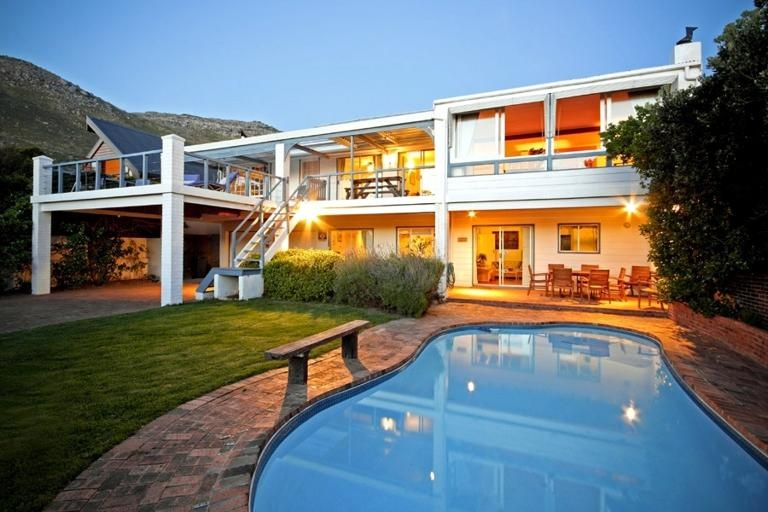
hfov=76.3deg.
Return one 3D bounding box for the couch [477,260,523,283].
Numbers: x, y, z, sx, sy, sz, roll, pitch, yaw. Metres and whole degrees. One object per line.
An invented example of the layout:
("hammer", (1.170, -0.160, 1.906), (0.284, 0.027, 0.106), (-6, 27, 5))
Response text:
("couch", (4.943, 0.680, 20.828), (1.545, 0.979, 2.162), (-1, -2, 29))
